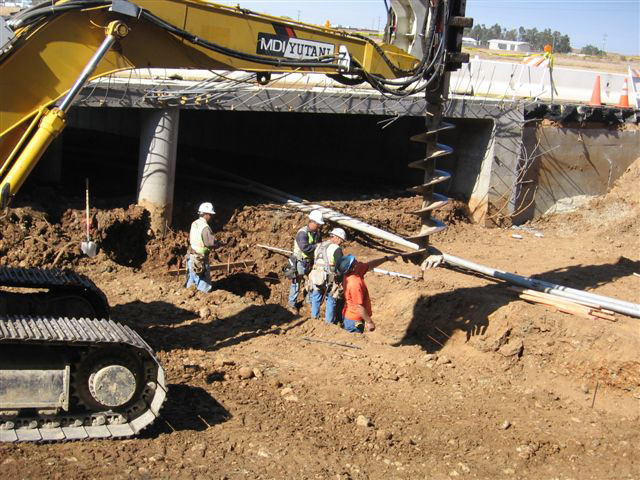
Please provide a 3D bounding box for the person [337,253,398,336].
[{"bbox_3d":[0.795,0.933,9.622,0.894,1.339,0.509,-22,60,-5],"label":"person"}]

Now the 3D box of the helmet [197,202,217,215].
[{"bbox_3d":[-1.986,-0.559,10.095,0.366,0.196,0.417,5,-3,-2],"label":"helmet"}]

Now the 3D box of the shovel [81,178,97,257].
[{"bbox_3d":[-3.704,-0.267,9.170,0.273,1.008,0.096,4,14,19],"label":"shovel"}]
